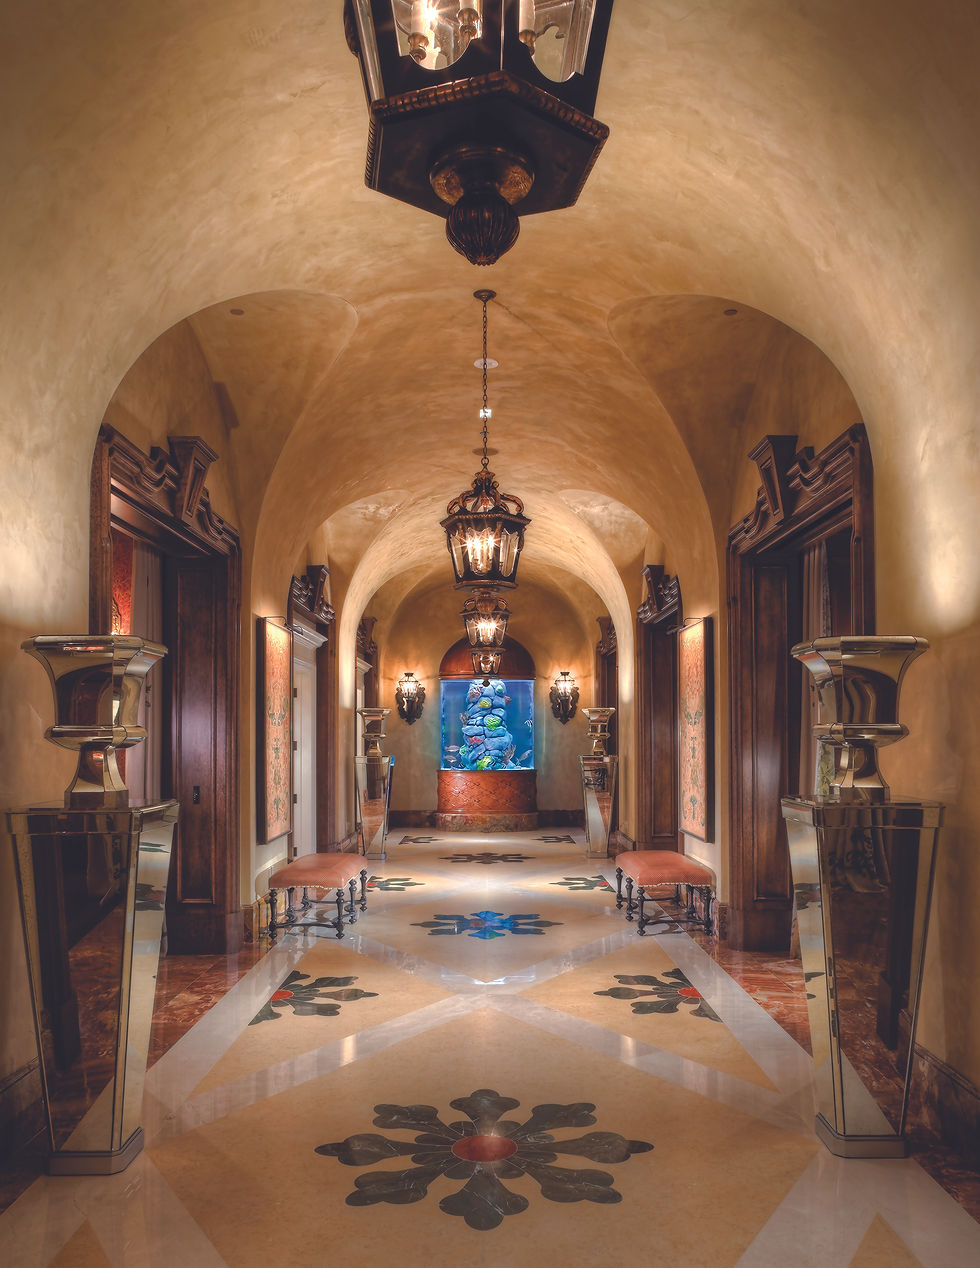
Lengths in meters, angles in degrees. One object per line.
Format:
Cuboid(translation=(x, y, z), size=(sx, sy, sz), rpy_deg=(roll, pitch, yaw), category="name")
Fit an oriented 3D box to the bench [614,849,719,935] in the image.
Cuboid(translation=(1.560, 2.326, 7.902), size=(0.822, 0.640, 2.088), rpy_deg=(-2, -11, 8), category="bench")
